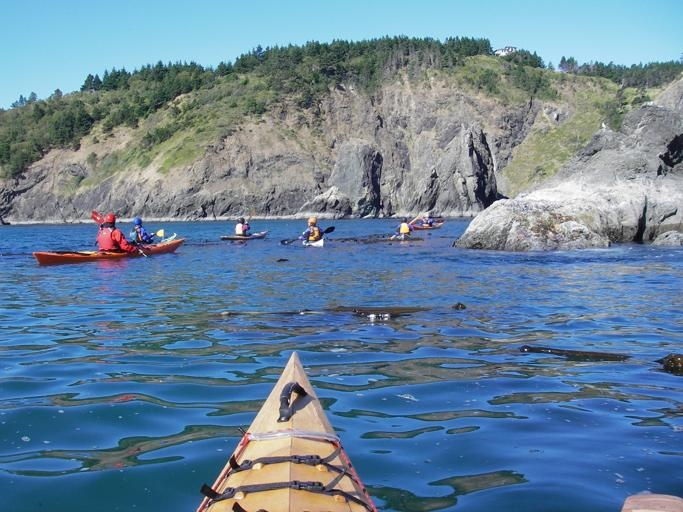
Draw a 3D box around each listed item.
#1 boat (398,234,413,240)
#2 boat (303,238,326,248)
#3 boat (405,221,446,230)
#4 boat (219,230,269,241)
[{"bbox_3d":[3.293,-0.904,37.330,0.846,0.308,1.243,2,3,5],"label":"boat"},{"bbox_3d":[-1.219,-0.556,33.297,0.976,0.381,0.401,6,5,38],"label":"boat"},{"bbox_3d":[5.426,-1.811,47.742,2.925,0.362,0.867,-9,20,-34],"label":"boat"},{"bbox_3d":[-4.788,-0.914,39.281,0.879,0.447,3.658,8,10,30],"label":"boat"}]
